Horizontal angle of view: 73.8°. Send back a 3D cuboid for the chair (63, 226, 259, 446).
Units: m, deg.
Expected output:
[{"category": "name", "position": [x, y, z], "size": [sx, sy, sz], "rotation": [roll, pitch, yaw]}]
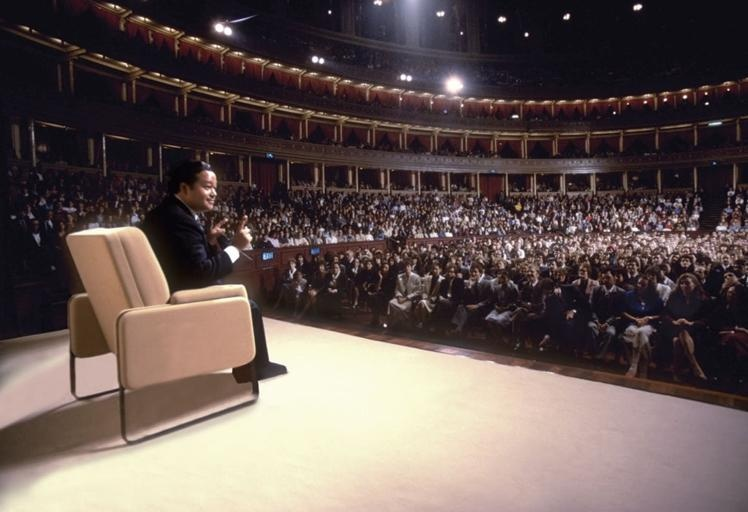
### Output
[{"category": "chair", "position": [-2.093, 0.608, 4.946], "size": [1.579, 1.885, 1.387], "rotation": [3, 4, 41]}]
